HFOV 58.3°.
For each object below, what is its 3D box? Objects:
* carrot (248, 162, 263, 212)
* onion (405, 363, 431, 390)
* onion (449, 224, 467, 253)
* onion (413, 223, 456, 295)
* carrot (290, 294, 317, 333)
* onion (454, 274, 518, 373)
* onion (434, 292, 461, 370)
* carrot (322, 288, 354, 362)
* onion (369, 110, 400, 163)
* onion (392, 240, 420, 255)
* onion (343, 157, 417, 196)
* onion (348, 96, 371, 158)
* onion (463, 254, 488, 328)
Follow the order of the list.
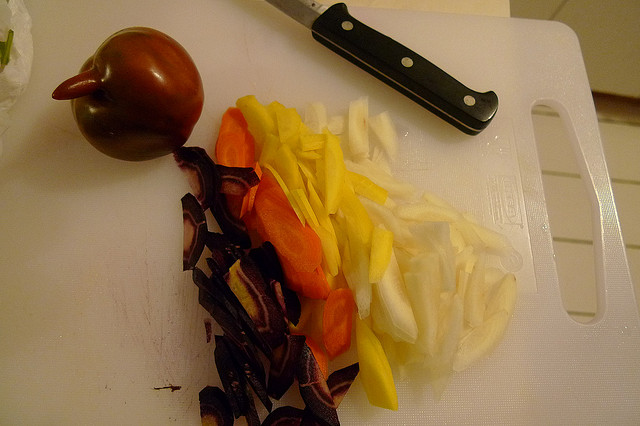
[{"bbox_3d":[-0.153,-0.065,1.399,0.029,0.080,0.095,14,62,-7],"label":"carrot"},{"bbox_3d":[0.233,0.380,1.349,0.060,0.075,0.022,-4,19,16],"label":"onion"},{"bbox_3d":[0.338,0.062,1.403,0.044,0.015,0.068,-8,75,-30],"label":"onion"},{"bbox_3d":[0.257,0.104,1.365,0.094,0.033,0.160,2,70,-64],"label":"onion"},{"bbox_3d":[-0.040,0.233,1.371,0.021,0.083,0.077,9,2,42],"label":"carrot"},{"bbox_3d":[0.421,0.220,1.430,0.064,0.166,0.240,58,18,-7],"label":"onion"},{"bbox_3d":[0.284,0.273,1.293,0.070,0.030,0.147,1,85,-29],"label":"onion"},{"bbox_3d":[0.045,0.248,1.335,0.071,0.014,0.170,7,91,-20],"label":"carrot"},{"bbox_3d":[0.171,-0.208,1.530,0.064,0.032,0.133,-22,84,-10],"label":"onion"},{"bbox_3d":[0.211,0.081,1.364,0.040,0.016,0.042,28,13,18],"label":"onion"},{"bbox_3d":[0.149,-0.090,1.455,0.204,0.049,0.060,23,49,7],"label":"onion"},{"bbox_3d":[0.102,-0.225,1.531,0.058,0.206,0.040,-5,54,5],"label":"onion"},{"bbox_3d":[0.365,0.180,1.345,0.034,0.162,0.063,10,-2,35],"label":"onion"}]
